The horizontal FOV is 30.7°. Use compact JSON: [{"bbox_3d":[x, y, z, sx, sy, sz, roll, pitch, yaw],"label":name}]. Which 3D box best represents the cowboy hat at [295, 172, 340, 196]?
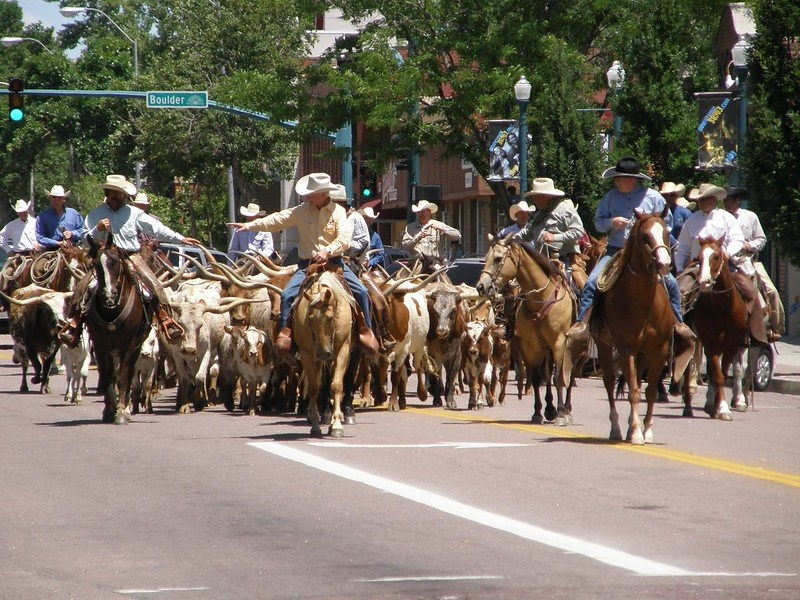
[{"bbox_3d":[-1.228,-1.698,20.775,0.553,0.371,0.646,0,-4,-3],"label":"cowboy hat"}]

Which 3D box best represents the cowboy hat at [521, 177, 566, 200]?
[{"bbox_3d":[2.218,-1.791,22.581,0.550,0.343,0.791,-1,-4,5],"label":"cowboy hat"}]

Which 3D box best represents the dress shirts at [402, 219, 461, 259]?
[{"bbox_3d":[0.533,-1.309,26.572,0.947,1.016,0.753,-3,-9,8],"label":"dress shirts"}]

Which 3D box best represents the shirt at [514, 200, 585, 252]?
[{"bbox_3d":[2.344,-1.162,22.617,0.731,0.908,1.145,7,-12,-34],"label":"shirt"}]

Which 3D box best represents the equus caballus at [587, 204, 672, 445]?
[{"bbox_3d":[3.097,0.393,19.596,1.079,3.072,1.896,-1,-4,4],"label":"equus caballus"}]

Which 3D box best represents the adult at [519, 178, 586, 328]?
[{"bbox_3d":[2.165,-0.757,22.782,1.400,2.336,1.079,1,-5,16],"label":"adult"}]

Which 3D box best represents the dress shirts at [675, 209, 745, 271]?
[{"bbox_3d":[4.844,-1.096,22.868,1.110,1.247,0.873,3,0,20],"label":"dress shirts"}]

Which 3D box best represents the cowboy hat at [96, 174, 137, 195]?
[{"bbox_3d":[-4.438,-1.818,22.348,0.513,0.254,0.423,1,0,15],"label":"cowboy hat"}]
